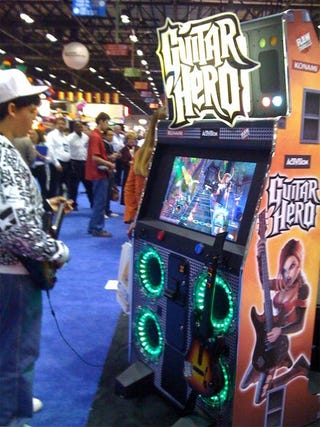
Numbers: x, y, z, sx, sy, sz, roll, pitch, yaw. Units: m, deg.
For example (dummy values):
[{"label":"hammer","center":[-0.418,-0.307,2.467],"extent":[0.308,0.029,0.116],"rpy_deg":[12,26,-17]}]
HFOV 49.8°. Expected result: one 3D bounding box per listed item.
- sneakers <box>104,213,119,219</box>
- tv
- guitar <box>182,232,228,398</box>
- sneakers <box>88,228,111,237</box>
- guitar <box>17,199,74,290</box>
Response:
[{"label":"sneakers","center":[-1.027,0.053,7.313],"extent":[0.314,0.127,0.102],"rpy_deg":[-9,15,-17]},{"label":"tv","center":[0.231,-0.114,1.689],"extent":[0.695,0.395,0.039],"rpy_deg":[12,-3,-37]},{"label":"guitar","center":[0.192,0.411,1.411],"extent":[0.163,0.686,0.231],"rpy_deg":[-7,6,-18]},{"label":"sneakers","center":[-0.990,0.315,5.682],"extent":[0.386,0.156,0.138],"rpy_deg":[-1,9,-11]},{"label":"guitar","center":[-0.426,0.151,1.300],"extent":[0.084,0.299,0.223],"rpy_deg":[2,23,-11]}]
